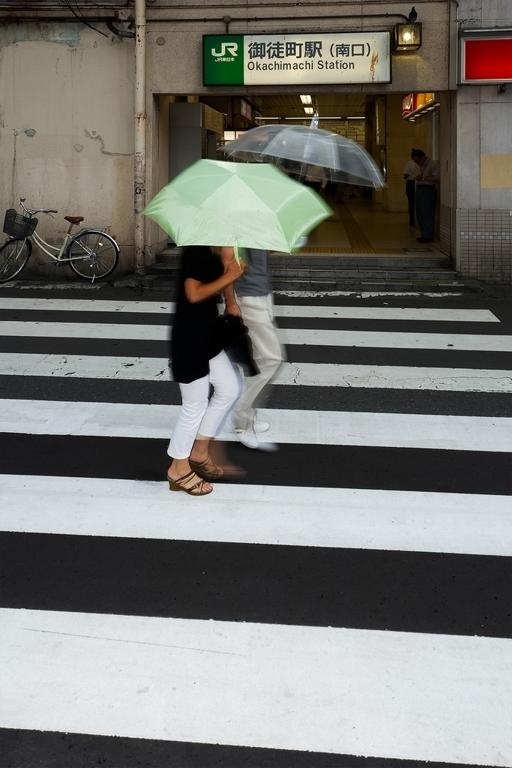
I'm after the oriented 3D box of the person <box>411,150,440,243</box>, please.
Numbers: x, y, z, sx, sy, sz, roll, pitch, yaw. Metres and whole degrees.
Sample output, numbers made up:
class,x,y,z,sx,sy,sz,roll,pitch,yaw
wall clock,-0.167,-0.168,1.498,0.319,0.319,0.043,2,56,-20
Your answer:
class,x,y,z,sx,sy,sz,roll,pitch,yaw
person,3.562,-3.914,14.747,0.549,1.907,1.039,4,15,14

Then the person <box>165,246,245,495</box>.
class,x,y,z,sx,sy,sz,roll,pitch,yaw
person,-0.292,-0.065,3.800,0.425,1.390,0.614,0,14,-2

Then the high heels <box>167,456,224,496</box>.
class,x,y,z,sx,sy,sz,roll,pitch,yaw
high heels,-0.360,0.538,3.895,0.189,0.108,0.258,6,19,4

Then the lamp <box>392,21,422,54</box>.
class,x,y,z,sx,sy,sz,roll,pitch,yaw
lamp,2.524,-5.790,11.781,0.460,0.511,0.494,-1,8,2

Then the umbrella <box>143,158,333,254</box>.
class,x,y,z,sx,sy,sz,roll,pitch,yaw
umbrella,-0.098,-0.841,3.273,0.882,0.382,0.635,2,16,5

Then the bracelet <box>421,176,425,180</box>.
class,x,y,z,sx,sy,sz,roll,pitch,yaw
bracelet,3.414,-4.172,14.264,0.085,0.118,0.101,6,16,20
